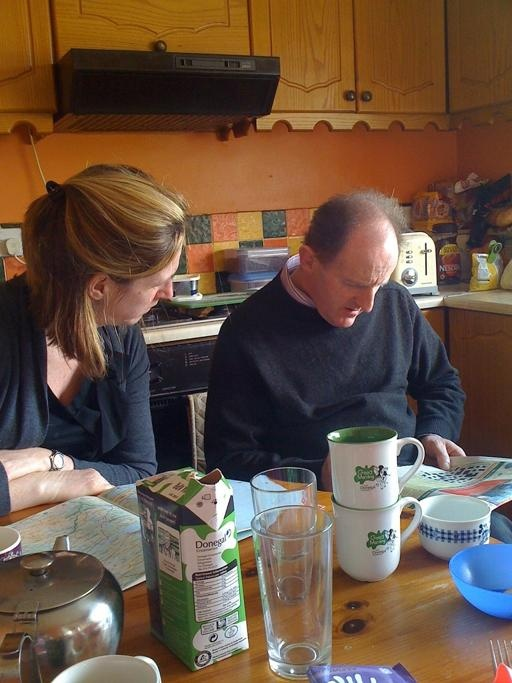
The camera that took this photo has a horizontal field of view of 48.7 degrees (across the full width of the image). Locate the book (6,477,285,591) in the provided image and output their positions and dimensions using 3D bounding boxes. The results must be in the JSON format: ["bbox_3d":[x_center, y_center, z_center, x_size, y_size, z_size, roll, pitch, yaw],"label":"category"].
[{"bbox_3d":[-0.111,0.198,0.573,0.172,0.016,0.125,-6,6,-37],"label":"book"}]

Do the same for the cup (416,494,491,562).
[{"bbox_3d":[0.245,0.220,0.702,0.078,0.052,0.085,-2,3,0],"label":"cup"}]

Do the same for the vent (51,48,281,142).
[{"bbox_3d":[-0.371,-0.992,2.298,0.856,0.255,0.477,-10,11,-27],"label":"vent"}]

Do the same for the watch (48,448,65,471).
[{"bbox_3d":[-0.375,0.227,1.069,0.019,0.033,0.065,-8,10,-10],"label":"watch"}]
